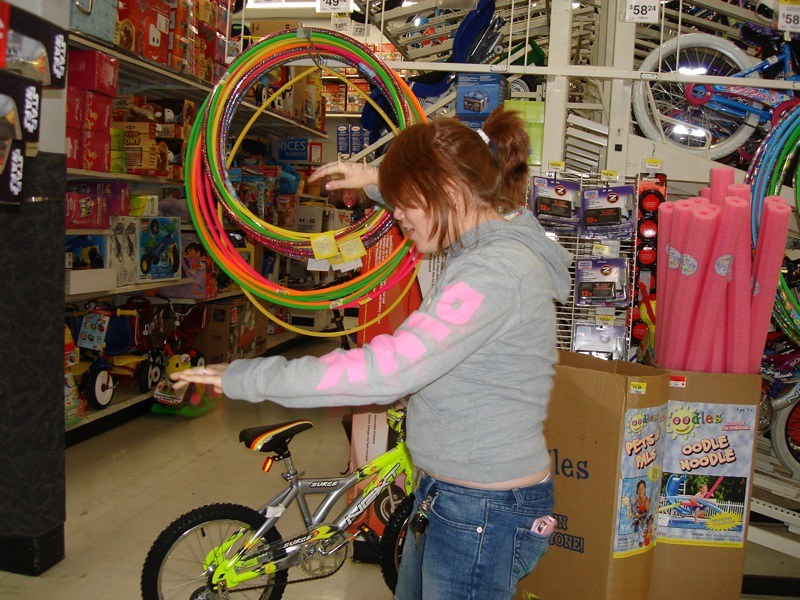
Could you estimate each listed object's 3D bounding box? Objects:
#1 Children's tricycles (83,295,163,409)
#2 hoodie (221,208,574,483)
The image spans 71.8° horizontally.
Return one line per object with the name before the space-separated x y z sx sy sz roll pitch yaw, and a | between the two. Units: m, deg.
Children's tricycles | -2.163 0.365 4.282 0.383 0.494 0.770 0 3 6
hoodie | 0.065 0.164 1.469 0.553 0.726 0.637 6 15 1
